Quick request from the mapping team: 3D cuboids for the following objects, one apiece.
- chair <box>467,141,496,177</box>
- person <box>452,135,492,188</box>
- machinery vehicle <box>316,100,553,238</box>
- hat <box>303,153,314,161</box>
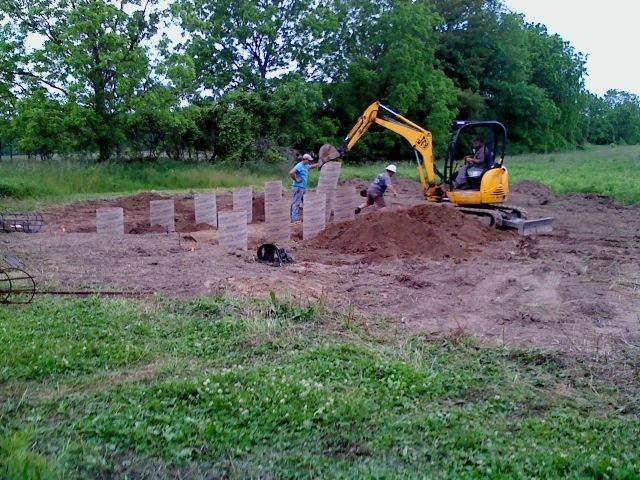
[{"bbox_3d":[4.595,-2.252,16.232,0.925,1.248,0.738,-1,3,8],"label":"chair"},{"bbox_3d":[4.323,-2.132,16.366,1.260,1.854,0.905,6,28,13],"label":"person"},{"bbox_3d":[3.438,-2.228,17.338,6.385,3.404,1.891,1,8,-2],"label":"machinery vehicle"},{"bbox_3d":[-0.355,-2.509,17.657,0.338,0.205,0.263,-2,9,0],"label":"hat"}]
